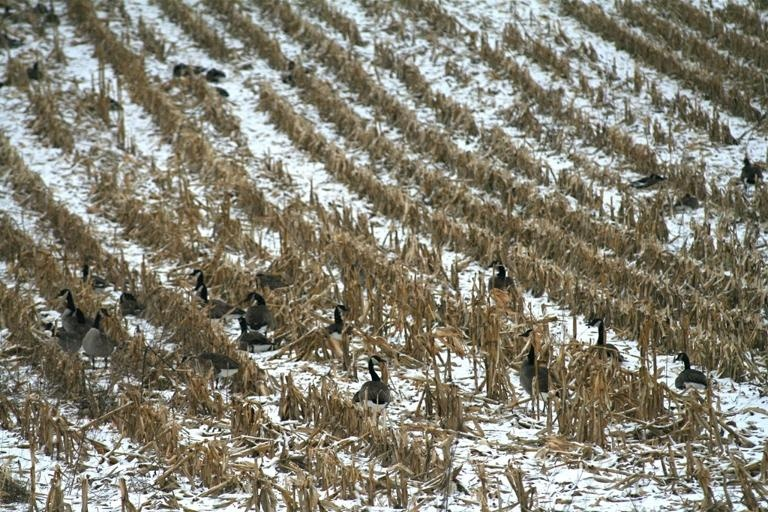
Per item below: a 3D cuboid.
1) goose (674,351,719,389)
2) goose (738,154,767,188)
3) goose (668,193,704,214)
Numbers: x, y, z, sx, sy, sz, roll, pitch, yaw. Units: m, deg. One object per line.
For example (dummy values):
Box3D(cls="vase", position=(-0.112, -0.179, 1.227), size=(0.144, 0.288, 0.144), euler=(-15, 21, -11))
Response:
Box3D(cls="goose", position=(5.459, 2.061, 26.704), size=(0.409, 0.668, 0.692), euler=(9, -11, -40))
Box3D(cls="goose", position=(7.662, -1.693, 31.569), size=(0.417, 0.497, 0.691), euler=(-1, -7, 37))
Box3D(cls="goose", position=(6.071, -1.063, 30.687), size=(0.525, 0.281, 0.236), euler=(-4, 25, 4))
